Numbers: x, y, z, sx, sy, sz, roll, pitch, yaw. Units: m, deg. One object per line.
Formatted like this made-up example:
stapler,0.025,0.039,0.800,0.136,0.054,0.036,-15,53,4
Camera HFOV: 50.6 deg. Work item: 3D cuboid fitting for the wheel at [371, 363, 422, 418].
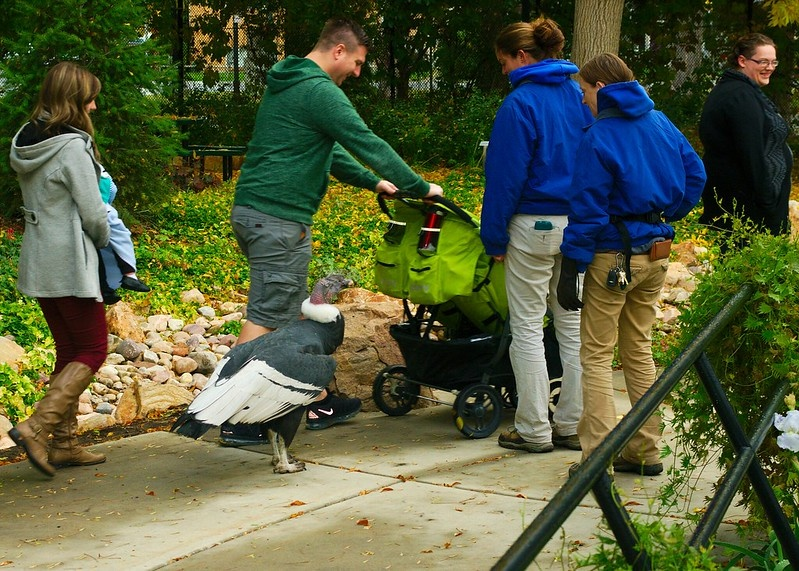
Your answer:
wheel,-0.028,0.819,6.685,0.474,0.387,0.412,1,5,-2

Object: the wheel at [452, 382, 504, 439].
wheel,0.570,0.910,6.132,0.456,0.372,0.122,5,15,-26

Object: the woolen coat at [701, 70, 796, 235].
woolen coat,2.625,-1.006,6.372,0.662,1.234,0.540,2,13,16

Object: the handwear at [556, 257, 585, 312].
handwear,1.019,-0.007,5.162,0.247,0.271,0.093,11,-3,-22

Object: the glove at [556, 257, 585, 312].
glove,1.035,-0.003,5.131,0.247,0.271,0.093,11,-3,-22

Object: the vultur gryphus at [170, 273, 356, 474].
vultur gryphus,-0.954,0.675,6.015,0.771,0.964,1.501,1,5,44
